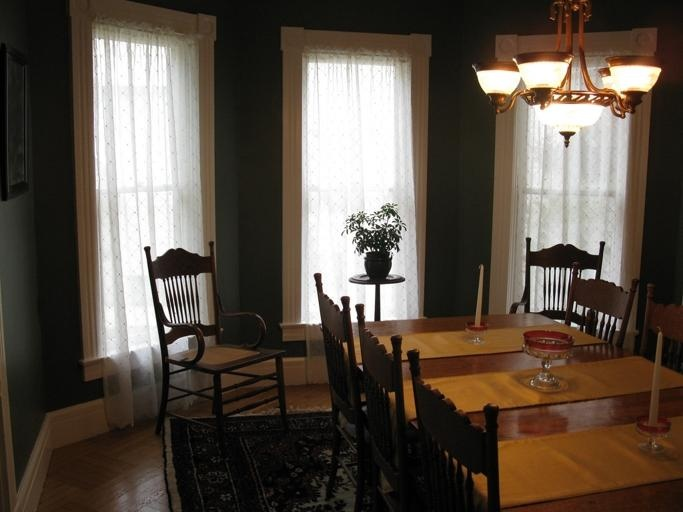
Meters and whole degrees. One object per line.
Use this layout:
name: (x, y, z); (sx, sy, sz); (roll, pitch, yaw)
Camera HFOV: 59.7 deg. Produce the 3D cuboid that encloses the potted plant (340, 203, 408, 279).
potted plant: (0.314, -0.137, 4.676); (0.594, 0.741, 0.533); (1, 7, 19)
